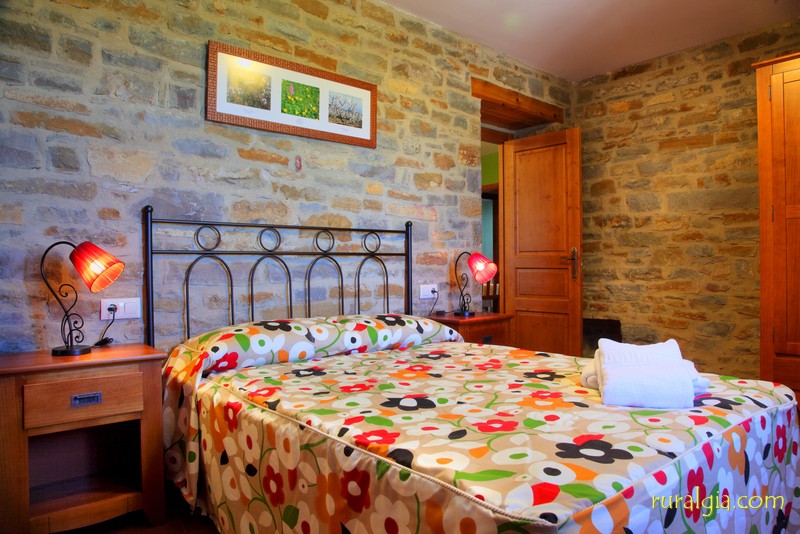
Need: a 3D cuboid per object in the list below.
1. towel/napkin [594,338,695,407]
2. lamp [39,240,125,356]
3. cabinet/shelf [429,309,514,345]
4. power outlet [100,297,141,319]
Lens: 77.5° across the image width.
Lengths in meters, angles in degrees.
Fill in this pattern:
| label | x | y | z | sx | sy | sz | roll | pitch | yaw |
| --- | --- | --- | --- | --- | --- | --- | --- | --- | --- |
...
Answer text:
| label | x | y | z | sx | sy | sz | roll | pitch | yaw |
| --- | --- | --- | --- | --- | --- | --- | --- | --- | --- |
| towel/napkin | 1.131 | 0.495 | 2.322 | 0.325 | 0.118 | 0.318 | -4 | 15 | 10 |
| lamp | -1.783 | 0.165 | 2.832 | 0.394 | 0.617 | 0.432 | -9 | 13 | -33 |
| cabinet/shelf | 0.573 | 0.472 | 4.258 | 0.497 | 0.434 | 0.356 | -4 | 7 | -41 |
| power outlet | -1.703 | 0.248 | 3.025 | 0.148 | 0.092 | 0.020 | -1 | 5 | -32 |
